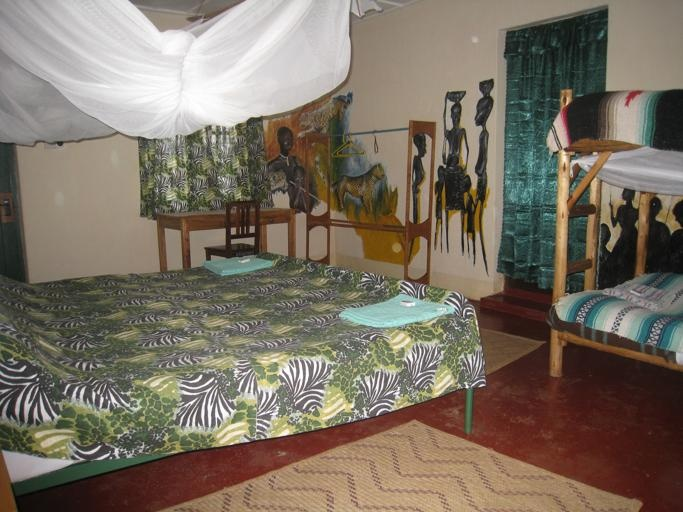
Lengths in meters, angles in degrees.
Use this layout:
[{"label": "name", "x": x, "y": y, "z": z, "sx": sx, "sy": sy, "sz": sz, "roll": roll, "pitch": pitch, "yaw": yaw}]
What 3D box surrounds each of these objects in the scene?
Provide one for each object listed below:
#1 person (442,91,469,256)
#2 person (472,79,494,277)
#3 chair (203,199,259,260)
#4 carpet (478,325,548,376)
[{"label": "person", "x": 1.168, "y": -0.849, "z": 5.446, "sx": 0.124, "sy": 1.598, "sz": 0.387, "roll": -10, "pitch": 17, "yaw": -33}, {"label": "person", "x": 1.394, "y": -0.780, "z": 5.232, "sx": 0.129, "sy": 1.825, "sz": 0.297, "roll": -8, "pitch": 16, "yaw": -27}, {"label": "chair", "x": -1.088, "y": -0.277, "z": 5.292, "sx": 0.407, "sy": 0.787, "sz": 0.392, "roll": -8, "pitch": 22, "yaw": -30}, {"label": "carpet", "x": 1.180, "y": 0.714, "z": 4.157, "sx": 0.526, "sy": 0.032, "sz": 0.814, "roll": 12, "pitch": 20, "yaw": 41}]
